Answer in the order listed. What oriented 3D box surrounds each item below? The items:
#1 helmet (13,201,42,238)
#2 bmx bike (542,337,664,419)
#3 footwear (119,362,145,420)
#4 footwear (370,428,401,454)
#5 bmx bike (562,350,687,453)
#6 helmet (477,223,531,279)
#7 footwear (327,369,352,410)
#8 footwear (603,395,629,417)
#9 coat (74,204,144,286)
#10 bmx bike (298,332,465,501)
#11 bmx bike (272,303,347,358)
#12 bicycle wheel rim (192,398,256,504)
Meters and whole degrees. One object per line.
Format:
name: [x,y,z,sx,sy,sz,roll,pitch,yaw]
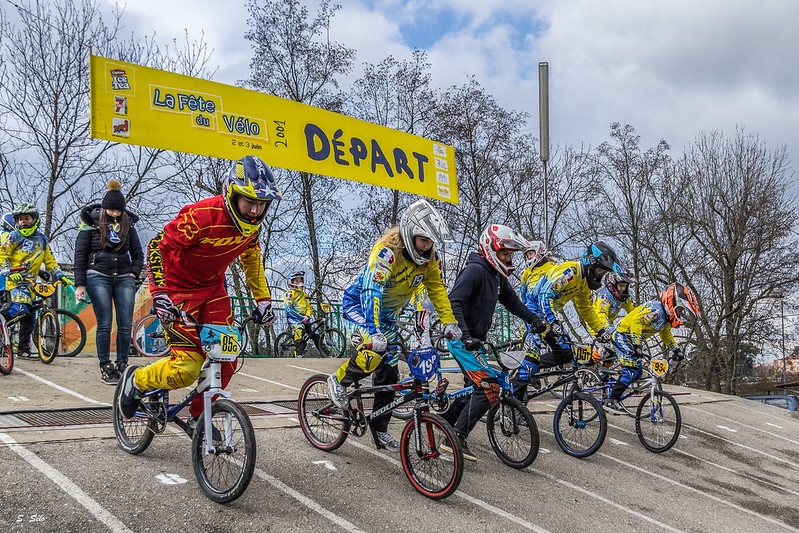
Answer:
helmet: [-7.017,-0.885,12.418,0.445,0.630,0.584,-7,1,-19]
bmx bike: [3.975,2.056,12.139,2.163,1.338,1.339,0,-16,35]
footwear: [-3.477,1.632,8.462,0.261,0.772,0.324,4,6,-43]
footwear: [-0.174,2.429,9.048,0.501,0.234,0.186,-2,-9,37]
bmx bike: [4.145,2.365,12.215,1.221,1.613,2.427,11,-2,-33]
helmet: [1.469,-0.262,9.854,0.773,0.628,0.580,33,15,28]
footwear: [-0.820,1.706,9.062,0.216,0.477,0.226,-25,-12,23]
footwear: [3.790,2.495,11.649,0.195,0.211,0.524,8,-4,-38]
coat: [-4.982,-0.336,11.349,1.103,1.502,0.621,2,-8,-34]
bmx bike: [-0.616,2.120,8.653,2.666,1.657,1.358,4,-5,39]
bmx bike: [-2.508,1.843,18.200,2.443,1.529,1.067,-5,-6,28]
bicycle wheel rim: [-2.108,2.243,7.831,1.197,1.166,0.323,1,-5,39]
